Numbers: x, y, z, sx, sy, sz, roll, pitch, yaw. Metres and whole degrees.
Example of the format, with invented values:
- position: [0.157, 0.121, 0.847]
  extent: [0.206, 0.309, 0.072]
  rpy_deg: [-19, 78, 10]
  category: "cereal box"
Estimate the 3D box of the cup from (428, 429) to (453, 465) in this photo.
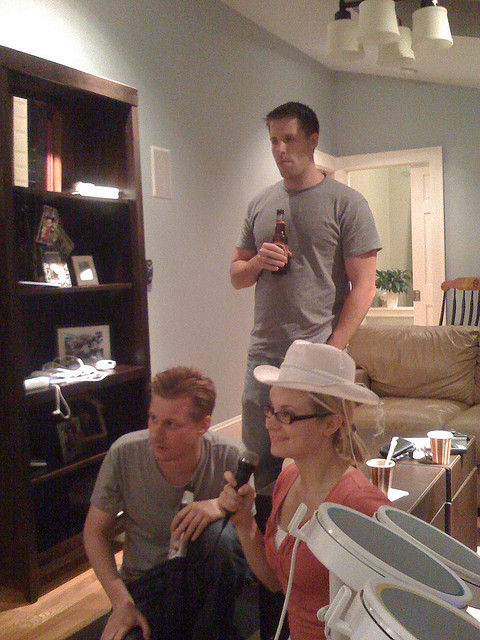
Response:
- position: [0.780, 0.491, 2.067]
  extent: [0.096, 0.128, 0.104]
  rpy_deg: [-1, 7, 0]
  category: "cup"

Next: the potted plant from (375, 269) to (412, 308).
- position: [1.869, -0.350, 6.143]
  extent: [0.251, 0.364, 0.320]
  rpy_deg: [5, -1, 6]
  category: "potted plant"

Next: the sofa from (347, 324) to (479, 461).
- position: [1.163, 0.410, 3.754]
  extent: [1.475, 0.930, 0.897]
  rpy_deg: [-1, 3, 8]
  category: "sofa"

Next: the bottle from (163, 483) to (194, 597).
- position: [-0.160, 0.582, 1.356]
  extent: [0.048, 0.347, 0.046]
  rpy_deg: [8, 18, -3]
  category: "bottle"

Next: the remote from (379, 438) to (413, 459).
- position: [0.642, 0.532, 2.176]
  extent: [0.080, 0.024, 0.081]
  rpy_deg: [-20, 11, -36]
  category: "remote"

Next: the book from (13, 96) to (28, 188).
- position: [-0.901, -0.688, 2.103]
  extent: [0.052, 0.328, 0.064]
  rpy_deg: [7, 14, 17]
  category: "book"

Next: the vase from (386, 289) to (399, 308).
- position: [1.775, -0.245, 6.203]
  extent: [0.141, 0.248, 0.170]
  rpy_deg: [0, 2, -2]
  category: "vase"

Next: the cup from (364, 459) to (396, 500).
- position: [0.443, 0.504, 1.672]
  extent: [0.093, 0.151, 0.102]
  rpy_deg: [-6, 16, 2]
  category: "cup"

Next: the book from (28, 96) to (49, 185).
- position: [-0.844, -0.755, 2.202]
  extent: [0.039, 0.348, 0.127]
  rpy_deg: [-1, 6, 14]
  category: "book"
